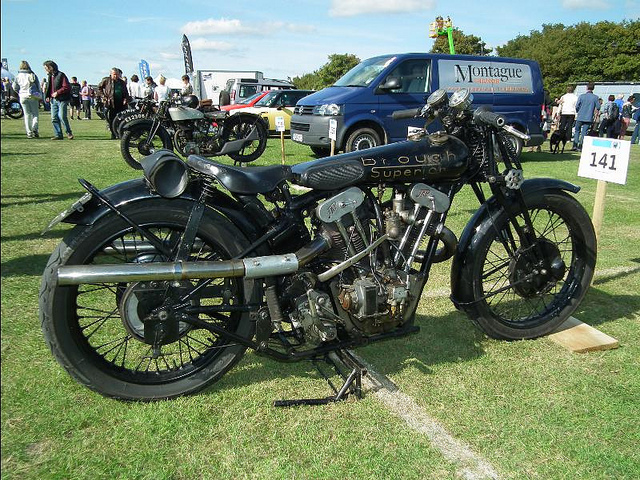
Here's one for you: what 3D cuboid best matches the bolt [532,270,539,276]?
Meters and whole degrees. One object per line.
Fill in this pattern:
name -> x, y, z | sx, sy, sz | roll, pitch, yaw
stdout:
bolt -> 1.584, 0.241, 3.532 | 0.041, 0.033, 0.010 | 6, -10, -12

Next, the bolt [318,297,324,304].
bolt -> 0.004, 0.367, 2.883 | 0.039, 0.038, 0.009 | -9, 17, -18

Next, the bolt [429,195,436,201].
bolt -> 0.714, -0.268, 3.060 | 0.036, 0.030, 0.008 | 0, -6, -10

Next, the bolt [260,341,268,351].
bolt -> -0.344, 0.652, 2.924 | 0.049, 0.055, 0.011 | -13, 19, -31

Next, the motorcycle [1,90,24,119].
motorcycle -> -13.432, -5.923, 20.808 | 0.683, 1.271, 2.548 | -13, 17, -29

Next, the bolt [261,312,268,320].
bolt -> -0.337, 0.460, 2.899 | 0.043, 0.036, 0.012 | 5, -2, -29

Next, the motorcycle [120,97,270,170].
motorcycle -> -2.670, -2.368, 10.388 | 3.430, 1.364, 1.109 | -15, 22, -37

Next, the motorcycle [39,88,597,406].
motorcycle -> 0.197, -0.005, 3.172 | 3.746, 1.425, 1.003 | -4, 15, -9

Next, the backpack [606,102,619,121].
backpack -> 9.199, -4.054, 15.134 | 0.327, 0.560, 0.411 | 7, 19, 33
